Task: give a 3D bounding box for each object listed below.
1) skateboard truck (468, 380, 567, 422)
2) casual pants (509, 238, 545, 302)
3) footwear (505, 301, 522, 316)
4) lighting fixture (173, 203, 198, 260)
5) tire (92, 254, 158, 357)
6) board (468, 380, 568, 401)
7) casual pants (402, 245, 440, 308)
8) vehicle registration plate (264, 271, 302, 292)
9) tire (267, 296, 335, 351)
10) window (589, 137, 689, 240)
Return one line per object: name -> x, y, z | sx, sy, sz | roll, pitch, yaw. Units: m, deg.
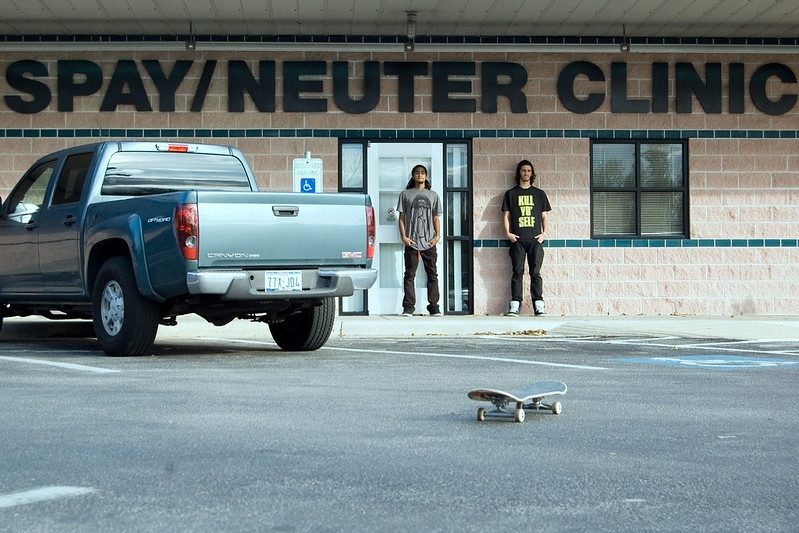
skateboard truck -> 0.923, 1.042, 7.672 | 0.312, 0.196, 0.815 | 0, 2, 42
casual pants -> 2.266, 0.045, 17.514 | 0.603, 1.145, 0.346 | -1, -1, 5
footwear -> 2.025, 0.726, 17.482 | 0.238, 0.273, 0.712 | -1, -4, 18
lighting fixture -> -2.244, -0.386, 10.294 | 0.181, 0.500, 0.371 | -3, -4, 9
tire -> -3.140, 0.454, 11.213 | 0.422, 1.140, 0.849 | 0, -1, -41
board -> 0.956, 0.999, 7.654 | 0.855, 0.133, 0.391 | -1, 0, -40
casual pants -> 0.360, 0.203, 17.253 | 0.622, 1.143, 0.498 | -1, -1, 0
vehicle registration plate -> -1.290, 0.158, 10.752 | 0.426, 0.227, 0.025 | -1, -1, -23
tire -> -1.198, 0.662, 11.771 | 0.278, 0.730, 0.749 | 1, 2, -43
window -> 4.424, -1.528, 18.269 | 2.007, 1.780, 0.192 | 0, 2, 1
